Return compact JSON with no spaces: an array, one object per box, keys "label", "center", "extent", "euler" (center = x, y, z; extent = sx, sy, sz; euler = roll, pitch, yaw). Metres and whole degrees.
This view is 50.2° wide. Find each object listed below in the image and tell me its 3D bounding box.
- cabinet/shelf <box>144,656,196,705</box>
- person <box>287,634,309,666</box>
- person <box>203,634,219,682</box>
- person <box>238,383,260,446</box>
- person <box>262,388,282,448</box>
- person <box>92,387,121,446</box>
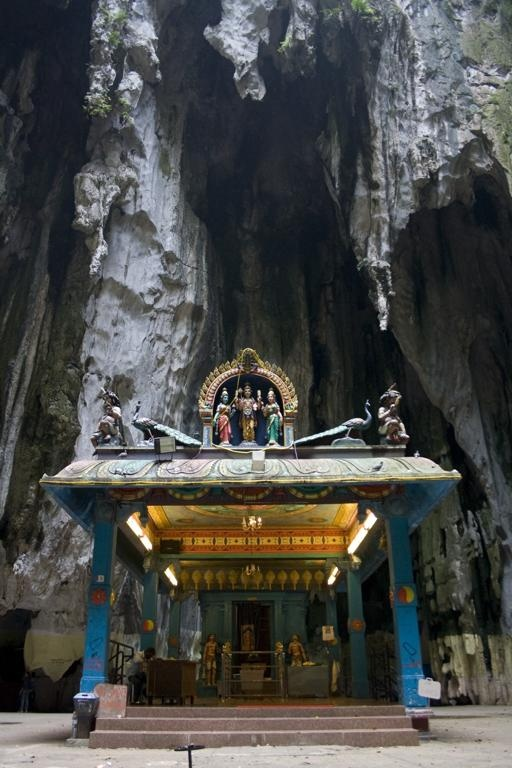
[{"label":"cabinet/shelf","center":[-1.060,3.770,6.857],"extent":[0.481,0.559,1.003],"euler":[0,-23,3]},{"label":"person","center":[0.889,5.800,11.862],"extent":[0.389,0.569,1.191],"euler":[0,-24,3]},{"label":"person","center":[-1.032,6.174,12.186],"extent":[0.333,0.983,0.743],"euler":[3,-22,-4]},{"label":"person","center":[-0.120,0.446,8.918],"extent":[0.330,1.040,0.393],"euler":[-2,-21,9]},{"label":"person","center":[0.271,0.508,8.905],"extent":[0.306,1.031,0.340],"euler":[16,-25,-34]},{"label":"person","center":[-1.965,0.500,7.336],"extent":[0.410,0.815,0.444],"euler":[0,-20,-7]}]
